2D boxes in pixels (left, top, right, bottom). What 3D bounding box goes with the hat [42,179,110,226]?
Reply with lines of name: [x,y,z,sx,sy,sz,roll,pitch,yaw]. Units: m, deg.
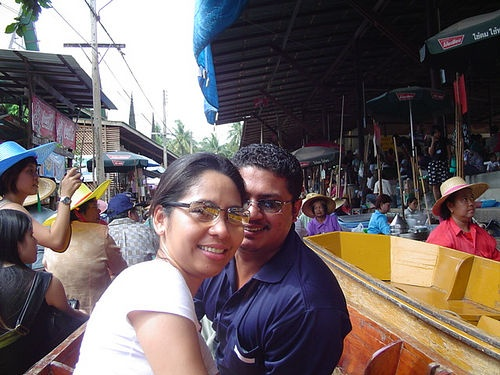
hat: [-1.827,0.041,4.104,0.374,0.178,0.439,24,19,16]

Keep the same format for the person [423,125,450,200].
person: [3.706,-0.415,7.516,0.432,1.487,0.407,2,-4,-44]
